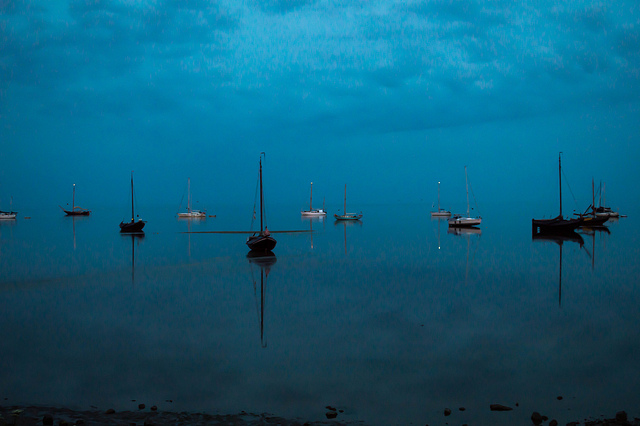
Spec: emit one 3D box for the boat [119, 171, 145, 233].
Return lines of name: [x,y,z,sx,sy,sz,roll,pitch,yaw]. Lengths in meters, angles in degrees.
boat: [-21.382,-1.074,108.085,1.660,7.240,4.846,1,2,22]

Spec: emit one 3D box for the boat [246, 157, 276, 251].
boat: [-5.219,-1.200,83.659,2.203,8.966,6.041,0,3,-10]
